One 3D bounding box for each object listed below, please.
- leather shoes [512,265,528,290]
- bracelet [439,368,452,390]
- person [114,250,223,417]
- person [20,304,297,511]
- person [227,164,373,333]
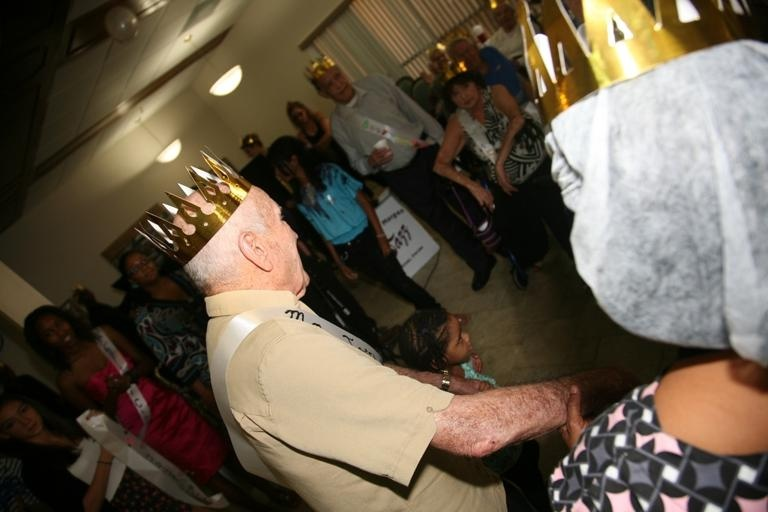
[{"bbox_3d":[1.097,0.166,4.249,0.096,0.204,0.065,-3,2,12],"label":"leather shoes"},{"bbox_3d":[0.341,0.669,2.880,0.091,0.050,0.095,37,-121,-74],"label":"bracelet"},{"bbox_3d":[-1.768,0.581,4.434,0.566,0.339,1.643,-35,-27,-48],"label":"person"},{"bbox_3d":[-1.562,1.023,3.478,0.502,1.520,0.456,-16,45,55],"label":"person"},{"bbox_3d":[-0.675,0.002,5.023,0.783,2.018,0.383,-33,13,27],"label":"person"}]
